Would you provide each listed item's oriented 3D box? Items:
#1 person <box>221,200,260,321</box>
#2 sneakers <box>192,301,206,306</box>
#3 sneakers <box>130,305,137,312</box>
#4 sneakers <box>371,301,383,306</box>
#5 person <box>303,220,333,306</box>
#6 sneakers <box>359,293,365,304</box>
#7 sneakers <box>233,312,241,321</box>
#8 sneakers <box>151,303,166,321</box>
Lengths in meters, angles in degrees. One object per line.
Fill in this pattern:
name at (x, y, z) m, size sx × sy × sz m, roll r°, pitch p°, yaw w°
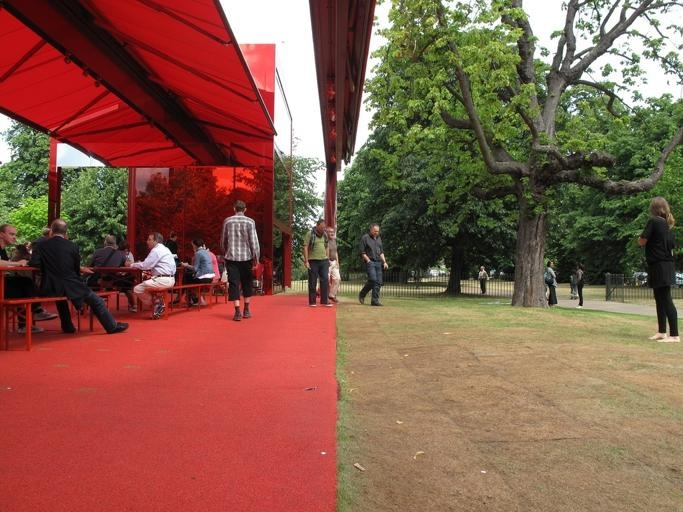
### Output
person at (-1.984, 0.083, 10.024) m, size 0.673 × 2.295 × 0.561 m, roll -1°, pitch -3°, yaw -32°
sneakers at (-3.653, 1.206, 13.069) m, size 0.401 × 0.180 × 0.166 m, roll -8°, pitch -6°, yaw 33°
sneakers at (-4.664, 1.168, 11.422) m, size 0.103 × 0.136 × 0.315 m, roll 2°, pitch 3°, yaw 2°
sneakers at (1.017, 1.367, 14.712) m, size 0.293 × 0.132 × 0.100 m, roll 0°, pitch 0°, yaw -7°
person at (-0.617, 0.194, 12.765) m, size 0.554 × 2.109 × 0.755 m, roll -2°, pitch -2°, yaw -5°
sneakers at (0.623, 1.255, 15.218) m, size 0.125 × 0.167 × 0.388 m, roll -5°, pitch -40°, yaw -8°
sneakers at (-1.990, 1.126, 9.785) m, size 0.139 × 0.191 × 0.207 m, roll -2°, pitch -3°, yaw -13°
sneakers at (-3.558, 1.065, 10.073) m, size 0.172 × 0.260 × 0.526 m, roll 5°, pitch 1°, yaw -8°
